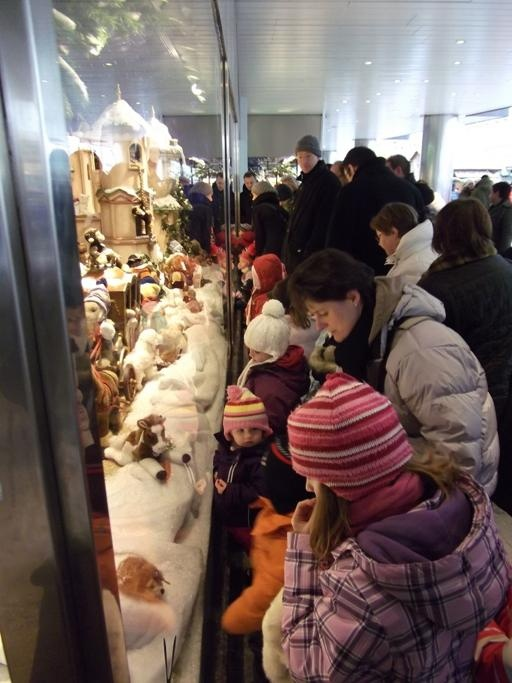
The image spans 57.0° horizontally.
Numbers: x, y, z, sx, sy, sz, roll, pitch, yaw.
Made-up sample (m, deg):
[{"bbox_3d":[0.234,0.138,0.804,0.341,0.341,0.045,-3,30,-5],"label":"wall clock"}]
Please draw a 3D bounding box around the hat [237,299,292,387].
[{"bbox_3d":[0.032,0.025,1.987,0.217,0.385,0.187,2,12,-16],"label":"hat"}]

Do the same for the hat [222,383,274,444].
[{"bbox_3d":[-0.030,0.235,1.631,0.172,0.186,0.197,1,-7,-18],"label":"hat"}]

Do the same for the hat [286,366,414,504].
[{"bbox_3d":[0.194,0.177,1.019,0.271,0.242,0.269,-11,6,-3],"label":"hat"}]

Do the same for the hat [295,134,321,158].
[{"bbox_3d":[0.360,-1.335,3.254,0.165,0.131,0.168,8,22,21],"label":"hat"}]
